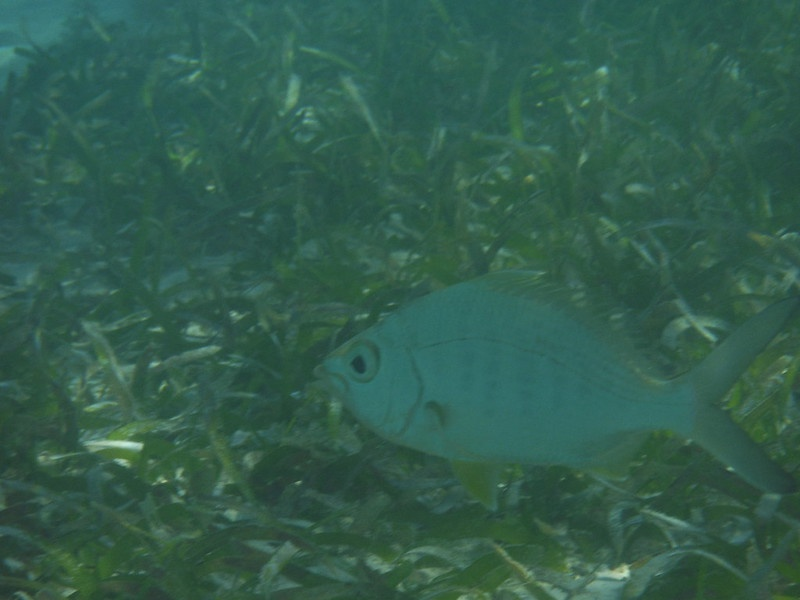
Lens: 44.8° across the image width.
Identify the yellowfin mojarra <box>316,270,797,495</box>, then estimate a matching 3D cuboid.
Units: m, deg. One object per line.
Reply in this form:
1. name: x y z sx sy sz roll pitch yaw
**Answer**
1. yellowfin mojarra: 0.133 0.060 0.789 0.398 0.143 0.100 6 40 0
